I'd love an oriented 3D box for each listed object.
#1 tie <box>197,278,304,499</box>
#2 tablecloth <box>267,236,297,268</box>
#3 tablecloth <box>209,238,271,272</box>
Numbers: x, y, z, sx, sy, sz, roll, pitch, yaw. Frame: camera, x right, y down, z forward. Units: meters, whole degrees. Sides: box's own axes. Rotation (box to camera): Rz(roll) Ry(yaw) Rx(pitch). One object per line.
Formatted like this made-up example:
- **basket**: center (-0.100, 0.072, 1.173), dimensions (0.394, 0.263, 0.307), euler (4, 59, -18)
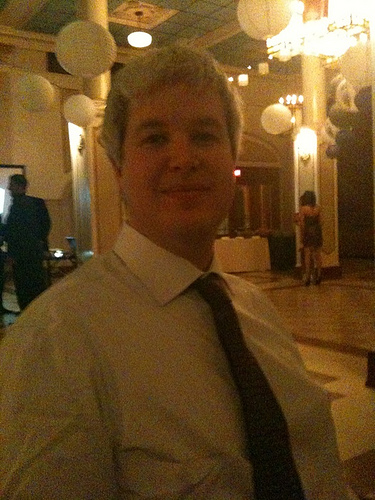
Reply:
- **tie**: center (0.085, 0.163, 0.590), dimensions (0.060, 0.390, 0.019), euler (-3, -41, -8)
- **tablecloth**: center (2.164, 0.041, 9.757), dimensions (0.776, 0.754, 0.699), euler (-3, 0, 1)
- **tablecloth**: center (1.222, 0.113, 8.969), dimensions (1.029, 0.448, 0.976), euler (-1, 1, 2)
